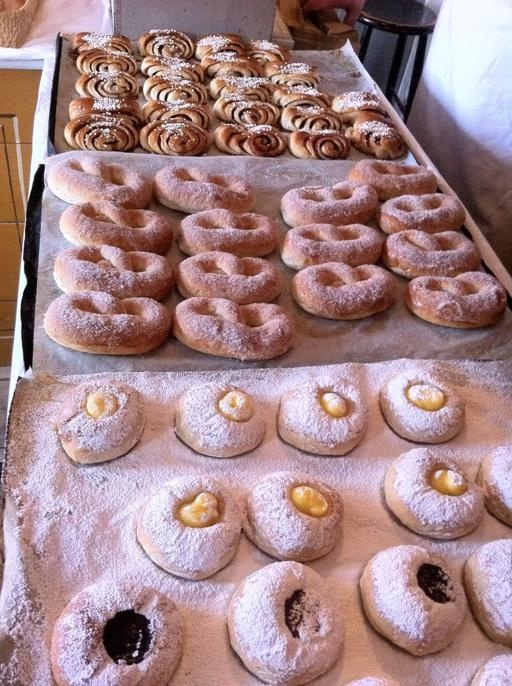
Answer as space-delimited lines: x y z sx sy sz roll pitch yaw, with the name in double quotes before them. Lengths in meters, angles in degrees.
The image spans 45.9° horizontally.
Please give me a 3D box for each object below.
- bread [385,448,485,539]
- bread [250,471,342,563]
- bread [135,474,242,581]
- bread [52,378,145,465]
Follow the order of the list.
"bread" 0.376 0.319 1.270 0.204 0.114 0.155 14 36 9
"bread" 0.075 0.347 1.196 0.191 0.099 0.163 9 35 2
"bread" -0.121 0.350 1.157 0.209 0.102 0.178 0 36 -11
"bread" -0.332 0.168 1.296 0.168 0.087 0.161 -3 36 -16
